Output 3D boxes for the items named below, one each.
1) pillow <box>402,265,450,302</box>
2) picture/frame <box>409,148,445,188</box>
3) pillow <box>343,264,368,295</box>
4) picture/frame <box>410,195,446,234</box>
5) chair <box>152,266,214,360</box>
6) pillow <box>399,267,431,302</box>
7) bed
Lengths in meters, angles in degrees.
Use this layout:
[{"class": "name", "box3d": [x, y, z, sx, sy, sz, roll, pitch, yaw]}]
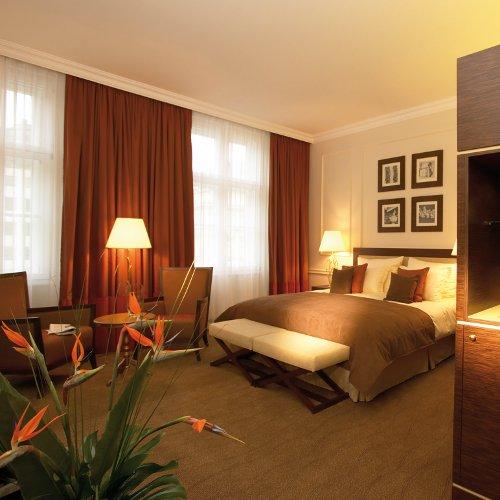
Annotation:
[{"class": "pillow", "box3d": [2.229, 0.406, 4.577, 0.404, 0.451, 0.173, -6, -36, 37]}, {"class": "picture/frame", "box3d": [2.516, -1.147, 5.409, 0.409, 0.020, 0.592, -1, -40, 24]}, {"class": "pillow", "box3d": [1.439, 0.415, 5.173, 0.159, 0.314, 0.314, 1, -6, -43]}, {"class": "picture/frame", "box3d": [2.522, -0.505, 5.420, 0.407, 0.605, 0.026, -2, -43, 27]}, {"class": "chair", "box3d": [-0.816, 0.688, 4.386, 0.741, 0.999, 0.765, 6, -8, -32]}, {"class": "pillow", "box3d": [1.983, 0.400, 4.554, 0.110, 0.373, 0.357, 16, -9, -24]}, {"class": "bed", "box3d": [1.252, 0.646, 4.446, 1.909, 1.261, 2.552, 0, 1, 45]}]
